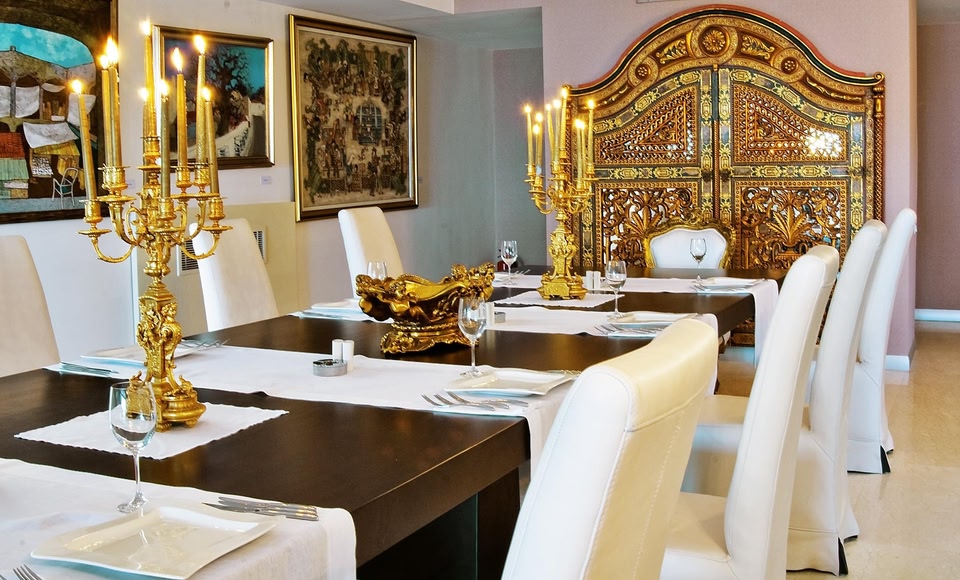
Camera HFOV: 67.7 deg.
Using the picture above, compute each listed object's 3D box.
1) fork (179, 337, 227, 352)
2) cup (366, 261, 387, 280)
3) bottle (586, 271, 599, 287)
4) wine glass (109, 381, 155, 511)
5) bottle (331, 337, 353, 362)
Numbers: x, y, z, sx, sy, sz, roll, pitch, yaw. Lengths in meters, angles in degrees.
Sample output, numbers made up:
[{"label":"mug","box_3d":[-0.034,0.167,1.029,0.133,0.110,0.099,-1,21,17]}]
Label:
[{"label":"fork","box_3d":[-1.096,0.207,2.774,0.122,0.032,0.072,13,19,27]},{"label":"cup","box_3d":[-0.414,-0.093,2.954,0.094,0.089,0.092,0,6,0]},{"label":"bottle","box_3d":[0.612,-0.060,3.909,0.075,0.087,0.074,-2,6,-16]},{"label":"wine glass","box_3d":[-0.792,0.338,1.645,0.096,0.260,0.345,-6,9,-25]},{"label":"bottle","box_3d":[-0.466,0.218,2.519,0.093,0.092,0.051,1,3,1]}]
